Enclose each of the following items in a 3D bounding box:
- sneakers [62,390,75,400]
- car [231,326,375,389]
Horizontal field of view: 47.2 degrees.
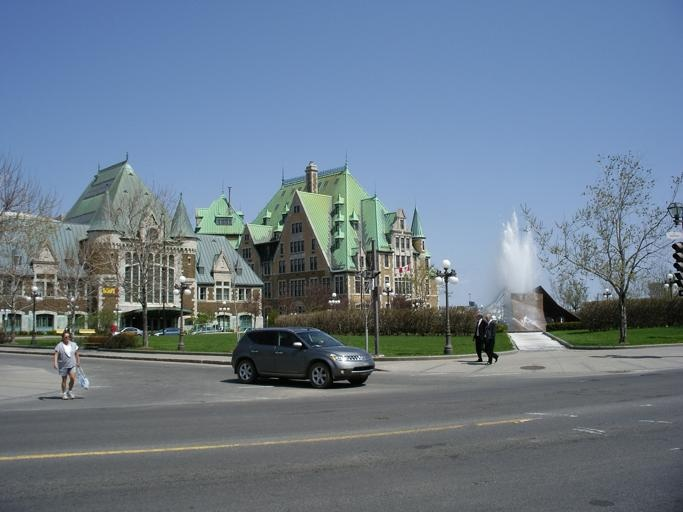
[{"bbox_3d":[-8.052,4.128,22.966,0.224,0.270,0.575,4,-11,-38],"label":"sneakers"},{"bbox_3d":[-1.248,3.466,25.724,4.099,1.695,2.097,-7,-10,35],"label":"car"}]
